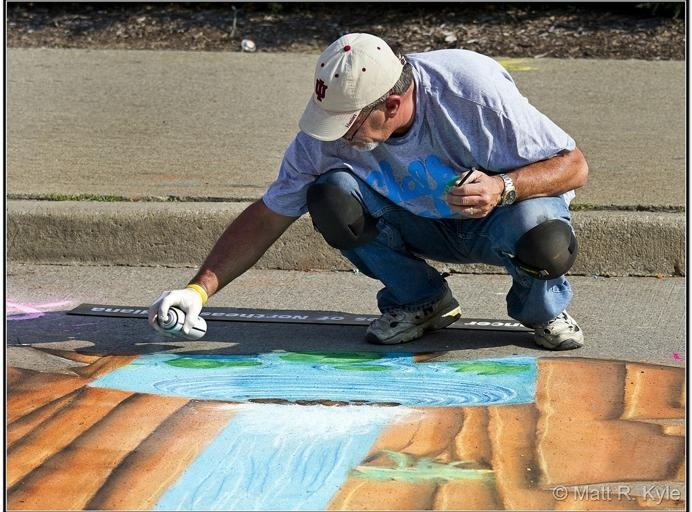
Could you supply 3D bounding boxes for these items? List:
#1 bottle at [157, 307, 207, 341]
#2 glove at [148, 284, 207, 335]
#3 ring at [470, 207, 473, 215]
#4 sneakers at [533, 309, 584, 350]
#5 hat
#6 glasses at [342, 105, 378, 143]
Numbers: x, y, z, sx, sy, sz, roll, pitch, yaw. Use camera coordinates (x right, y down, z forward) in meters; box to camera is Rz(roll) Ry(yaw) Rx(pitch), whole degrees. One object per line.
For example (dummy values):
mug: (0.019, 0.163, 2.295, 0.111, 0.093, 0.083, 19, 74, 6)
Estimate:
bottle: (-0.723, 0.295, 4.105, 0.117, 0.075, 0.236, -18, -12, 25)
glove: (-0.738, 0.245, 4.146, 0.158, 0.192, 0.310, 39, 14, 18)
ring: (0.540, -0.193, 3.990, 0.020, 0.029, 0.016, -1, 19, 7)
sneakers: (0.976, 0.351, 4.290, 0.155, 0.099, 0.259, -1, -8, 1)
hat: (0.033, -0.709, 3.999, 0.485, 0.462, 0.240, -5, 19, -6)
glasses: (0.059, -0.555, 3.957, 0.156, 0.070, 0.133, -47, 28, -18)
